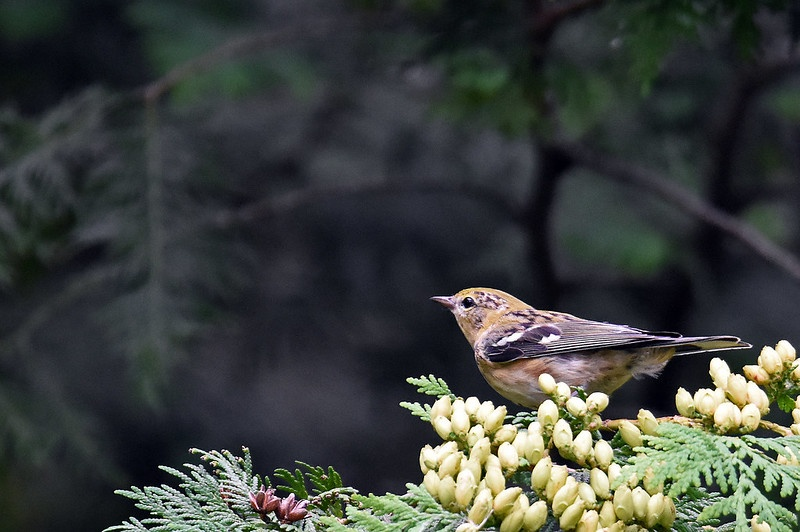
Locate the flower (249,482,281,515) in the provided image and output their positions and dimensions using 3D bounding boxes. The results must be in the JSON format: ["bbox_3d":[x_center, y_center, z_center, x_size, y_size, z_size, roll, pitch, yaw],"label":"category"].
[{"bbox_3d":[-0.637,1.108,5.269,0.127,0.111,0.115,29,-41,-33],"label":"flower"}]

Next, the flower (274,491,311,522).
[{"bbox_3d":[-0.518,1.148,5.265,0.129,0.110,0.135,-7,-13,4],"label":"flower"}]
